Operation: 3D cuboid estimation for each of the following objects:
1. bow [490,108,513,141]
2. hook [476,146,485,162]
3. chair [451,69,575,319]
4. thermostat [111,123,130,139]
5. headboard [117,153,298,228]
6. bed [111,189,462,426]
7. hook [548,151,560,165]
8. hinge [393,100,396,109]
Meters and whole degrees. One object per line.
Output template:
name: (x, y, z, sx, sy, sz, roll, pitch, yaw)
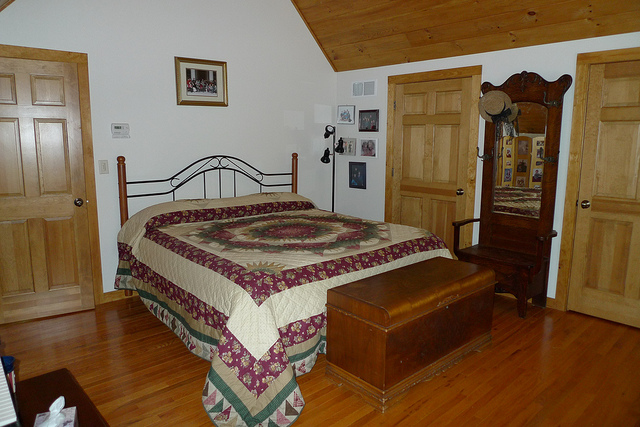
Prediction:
bow: (2.096, -0.976, 4.953, 0.242, 0.425, 0.063, 1, 46, 38)
hook: (1.890, -0.694, 5.127, 0.069, 0.178, 0.195, 1, 11, 7)
chair: (2.116, -0.252, 4.816, 0.921, 2.613, 0.683, 10, 15, 41)
thermostat: (-2.225, -0.921, 4.885, 0.185, 0.173, 0.036, -5, 13, -25)
headboard: (-1.305, -0.127, 5.661, 2.366, 1.370, 0.097, -7, 22, -34)
bed: (-0.881, 0.549, 4.205, 2.423, 0.939, 2.378, -11, 18, -40)
hook: (2.478, -0.568, 4.628, 0.106, 0.057, 0.076, -21, 18, -36)
hinge: (1.008, -1.467, 5.895, 0.034, 0.091, 0.010, 3, 12, 13)
